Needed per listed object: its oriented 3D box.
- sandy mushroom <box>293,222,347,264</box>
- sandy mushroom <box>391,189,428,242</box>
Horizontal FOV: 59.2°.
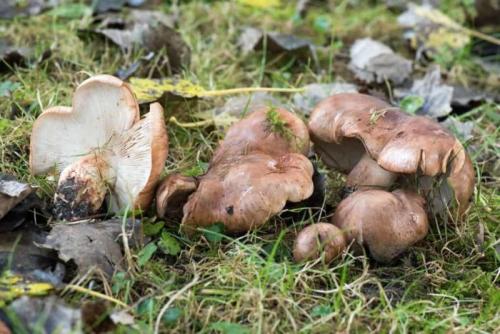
[{"bbox_3d":[0.522,0.587,3.376,0.332,0.198,0.340,-14,27,12],"label":"sandy mushroom"},{"bbox_3d":[1.302,0.393,3.612,0.380,0.215,0.390,-2,52,10],"label":"sandy mushroom"}]
